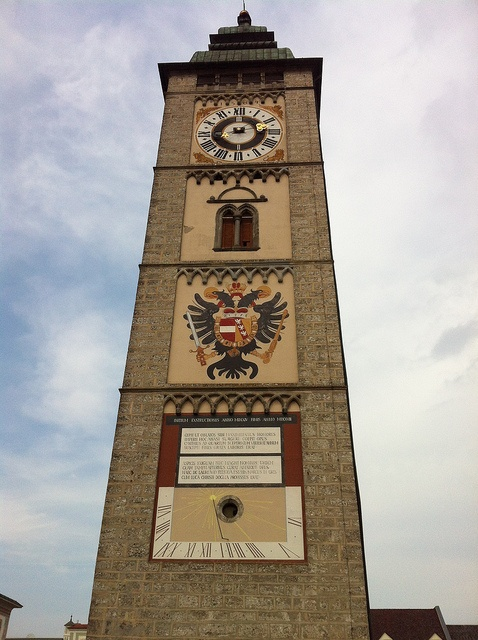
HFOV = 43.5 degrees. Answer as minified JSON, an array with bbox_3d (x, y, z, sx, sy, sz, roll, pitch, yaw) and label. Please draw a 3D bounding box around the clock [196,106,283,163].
[{"bbox_3d":[0.005,-5.051,16.205,2.418,2.167,0.240,1,-28,2],"label":"clock"}]
